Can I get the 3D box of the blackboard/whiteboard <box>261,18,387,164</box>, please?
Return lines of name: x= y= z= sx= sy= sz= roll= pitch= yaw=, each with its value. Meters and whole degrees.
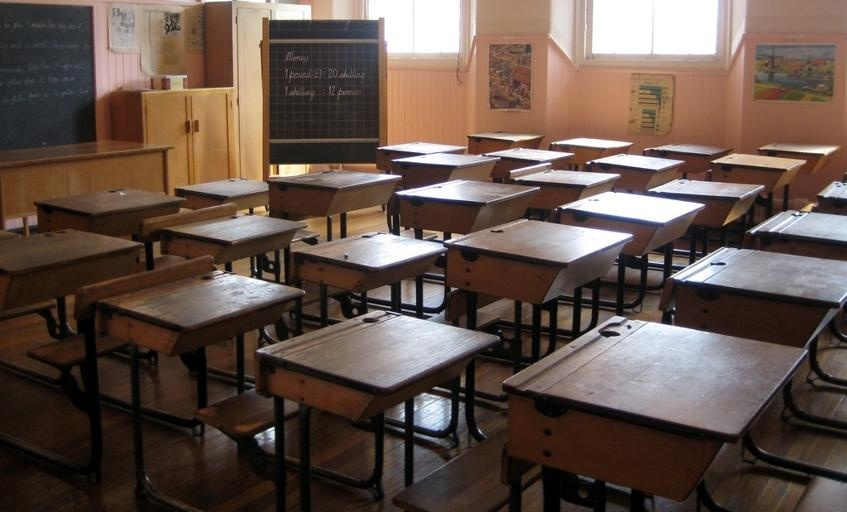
blackboard/whiteboard: x=-1.040 y=-1.694 z=6.680 sx=1.842 sy=1.762 sz=0.185 roll=0 pitch=4 yaw=-1
